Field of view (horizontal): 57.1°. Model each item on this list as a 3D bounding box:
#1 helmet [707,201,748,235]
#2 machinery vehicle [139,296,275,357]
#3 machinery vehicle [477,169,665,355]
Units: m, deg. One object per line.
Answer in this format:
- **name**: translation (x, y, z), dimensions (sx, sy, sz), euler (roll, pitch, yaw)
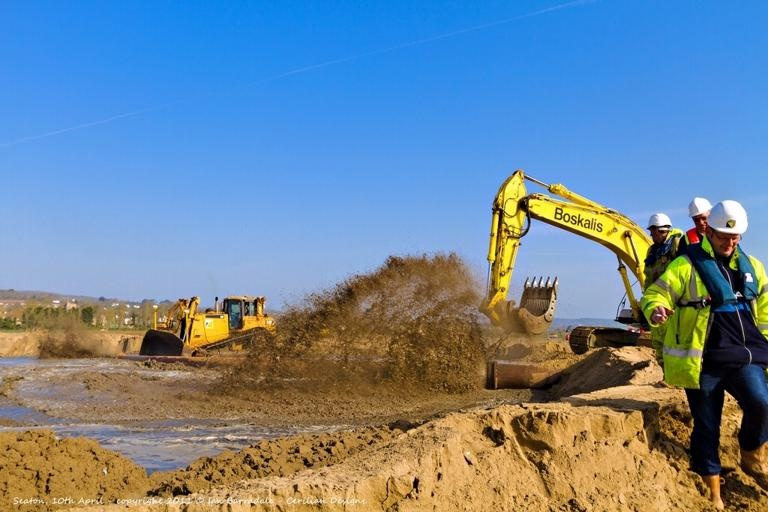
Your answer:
- **helmet**: translation (4.303, -0.478, 8.927), dimensions (0.496, 0.368, 0.673), euler (11, 8, 9)
- **machinery vehicle**: translation (-6.045, 2.600, 24.882), dimensions (2.883, 2.383, 5.508), euler (-7, -8, 44)
- **machinery vehicle**: translation (5.317, 0.407, 17.209), dimensions (5.692, 4.073, 2.198), euler (8, -4, -6)
